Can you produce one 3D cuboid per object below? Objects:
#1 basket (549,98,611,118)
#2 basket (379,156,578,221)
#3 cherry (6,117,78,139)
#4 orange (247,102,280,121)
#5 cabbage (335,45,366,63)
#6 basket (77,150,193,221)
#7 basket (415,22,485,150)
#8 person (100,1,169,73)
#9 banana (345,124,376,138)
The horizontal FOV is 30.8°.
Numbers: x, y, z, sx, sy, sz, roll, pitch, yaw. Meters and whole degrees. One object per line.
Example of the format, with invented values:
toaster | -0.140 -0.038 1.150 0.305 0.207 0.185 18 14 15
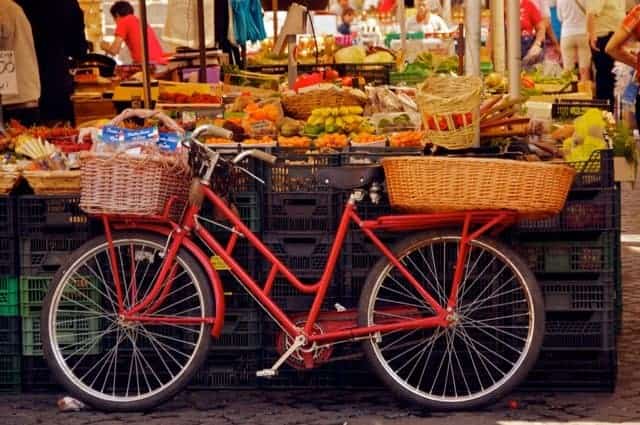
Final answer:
basket | 2.424 -0.954 10.896 0.521 0.163 0.657 1 8 12
basket | 1.209 -0.207 9.059 1.462 0.432 0.169 0 8 5
cherry | -2.523 -0.711 10.409 0.453 0.121 0.322 0 3 1
orange | -0.559 -0.919 10.870 0.226 0.086 0.229 6 4 44
cabbage | 0.396 -1.984 15.193 0.246 0.179 0.332 30 36 34
basket | -1.471 -0.227 9.254 0.878 0.492 0.251 -1 8 -4
basket | 1.048 -0.966 9.447 0.514 0.825 0.456 -7 15 6
person | -2.568 -2.389 15.973 1.063 0.977 1.130 3 8 24
banana | 0.342 -0.714 10.478 0.292 0.061 0.100 10 30 28
